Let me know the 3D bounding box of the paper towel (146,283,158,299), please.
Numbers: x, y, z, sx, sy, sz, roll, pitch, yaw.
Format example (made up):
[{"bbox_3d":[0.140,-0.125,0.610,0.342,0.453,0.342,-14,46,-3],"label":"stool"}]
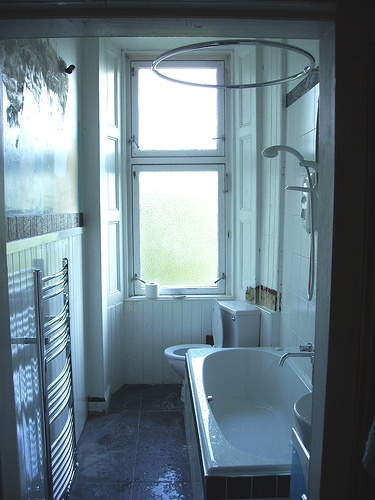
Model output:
[{"bbox_3d":[-0.333,0.366,3.683,0.100,0.147,0.115,4,7,24],"label":"paper towel"}]

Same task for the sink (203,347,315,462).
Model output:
[{"bbox_3d":[0.398,0.850,2.374,0.512,0.349,0.749,0,5,-21],"label":"sink"}]

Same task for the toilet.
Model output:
[{"bbox_3d":[0.201,0.653,3.306,0.629,0.893,0.764,1,1,-10],"label":"toilet"}]
